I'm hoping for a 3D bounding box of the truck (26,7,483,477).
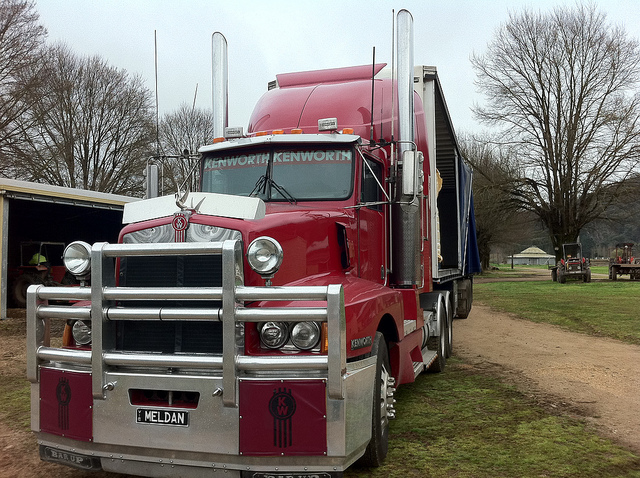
[{"bbox_3d":[-0.193,0.400,11.144,3.233,5.282,10.757,-1,-3,17],"label":"truck"}]

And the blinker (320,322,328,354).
[{"bbox_3d":[0.037,0.958,5.933,0.059,0.300,0.276,-1,-2,-10],"label":"blinker"}]

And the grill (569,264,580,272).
[{"bbox_3d":[15.426,1.683,37.124,0.569,0.457,0.174,-2,-2,26],"label":"grill"}]
